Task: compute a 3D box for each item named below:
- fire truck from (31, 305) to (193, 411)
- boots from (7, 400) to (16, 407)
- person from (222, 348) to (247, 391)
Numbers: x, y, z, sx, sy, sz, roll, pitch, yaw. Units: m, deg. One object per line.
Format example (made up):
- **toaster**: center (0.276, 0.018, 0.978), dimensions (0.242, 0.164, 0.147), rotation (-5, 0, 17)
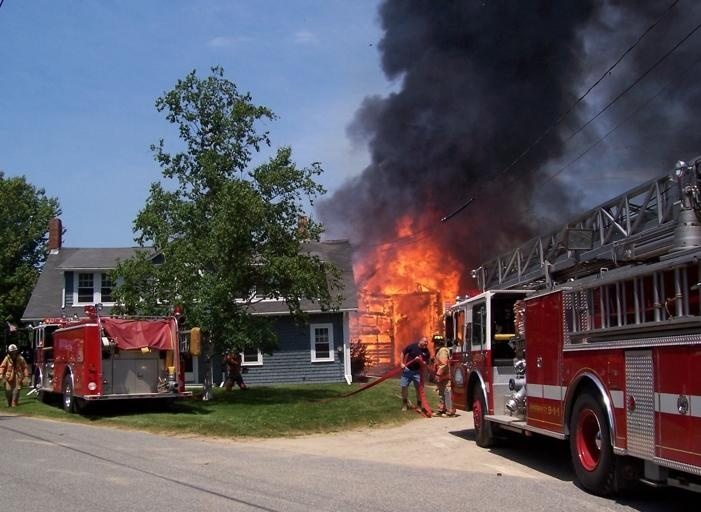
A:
- **fire truck**: center (-7.370, 3.055, 19.365), dimensions (3.120, 2.786, 7.795), rotation (4, -8, -34)
- **boots**: center (-9.891, 4.305, 18.639), dimensions (0.210, 0.183, 0.285), rotation (17, -5, -36)
- **person**: center (-4.428, 4.286, 24.372), dimensions (0.670, 1.596, 0.588), rotation (-6, 5, -17)
